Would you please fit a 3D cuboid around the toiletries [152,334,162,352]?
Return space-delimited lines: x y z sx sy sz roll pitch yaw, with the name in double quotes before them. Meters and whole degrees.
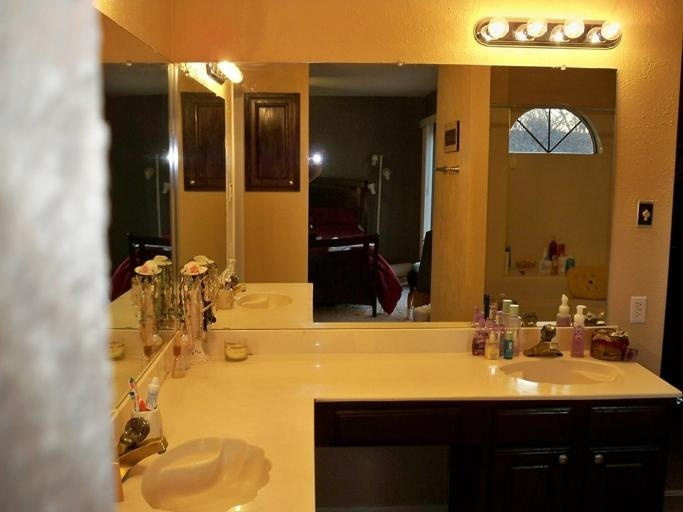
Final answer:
"toiletries" -0.562 0.271 1.819 0.025 0.052 0.042 1 -2 2

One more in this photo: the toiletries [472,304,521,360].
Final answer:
"toiletries" 0.598 0.301 2.258 0.168 0.260 0.090 1 6 5

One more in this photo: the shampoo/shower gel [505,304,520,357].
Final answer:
"shampoo/shower gel" 0.667 0.282 2.285 0.058 0.194 0.191 3 8 17

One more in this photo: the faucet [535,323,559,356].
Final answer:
"faucet" 0.797 0.318 2.273 0.081 0.143 0.108 2 -11 -6

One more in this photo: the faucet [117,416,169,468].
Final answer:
"faucet" -0.461 0.427 1.350 0.093 0.044 0.098 4 15 -12

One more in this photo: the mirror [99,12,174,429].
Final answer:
"mirror" -0.530 -0.127 1.578 0.148 0.925 0.828 -1 8 -16

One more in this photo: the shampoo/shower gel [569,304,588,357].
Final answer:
"shampoo/shower gel" 0.942 0.286 2.325 0.053 0.187 0.189 4 9 23

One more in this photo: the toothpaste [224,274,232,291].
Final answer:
"toothpaste" -0.449 0.109 2.301 0.032 0.048 0.011 9 0 -44

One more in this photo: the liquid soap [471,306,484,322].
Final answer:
"liquid soap" 0.540 0.231 2.328 0.048 0.093 0.054 2 -2 -5
